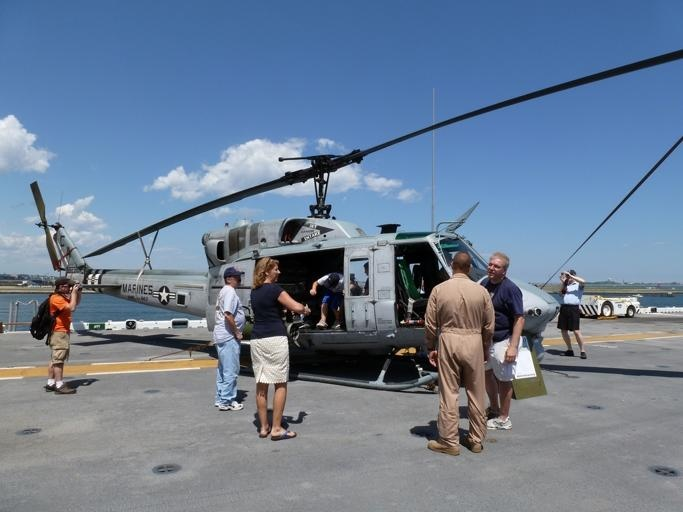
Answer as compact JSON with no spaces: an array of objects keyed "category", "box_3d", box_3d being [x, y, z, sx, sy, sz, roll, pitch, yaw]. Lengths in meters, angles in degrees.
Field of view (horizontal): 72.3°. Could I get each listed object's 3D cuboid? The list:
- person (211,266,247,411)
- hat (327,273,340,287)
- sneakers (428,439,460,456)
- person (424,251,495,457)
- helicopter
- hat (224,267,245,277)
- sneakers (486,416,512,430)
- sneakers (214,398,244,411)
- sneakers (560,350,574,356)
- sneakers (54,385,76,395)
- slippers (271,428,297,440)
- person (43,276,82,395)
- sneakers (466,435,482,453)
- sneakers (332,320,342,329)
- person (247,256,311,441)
[{"category":"person","box_3d":[-1.622,1.175,6.704,0.407,2.031,0.347,0,-1,-10]},{"category":"hat","box_3d":[-0.128,0.435,8.563,0.204,0.232,0.248,-5,13,-2]},{"category":"sneakers","box_3d":[1.119,2.095,5.196,0.337,0.121,0.130,7,0,35]},{"category":"person","box_3d":[1.343,1.207,5.302,0.749,1.915,0.453,-1,-1,10]},{"category":"helicopter","box_3d":[-0.294,0.947,8.519,11.842,3.769,3.189,-14,-7,34]},{"category":"hat","box_3d":[-1.545,0.231,6.799,0.315,0.112,0.198,-1,3,-24]},{"category":"sneakers","box_3d":[1.962,2.089,5.879,0.358,0.135,0.131,3,-7,2]},{"category":"sneakers","box_3d":[-1.631,2.134,6.732,0.353,0.127,0.150,1,-4,-13]},{"category":"sneakers","box_3d":[5.389,2.280,11.135,0.142,0.138,0.383,1,0,-10]},{"category":"sneakers","box_3d":[-4.405,2.138,7.502,0.370,0.140,0.135,2,-4,-6]},{"category":"slippers","box_3d":[-0.684,2.118,5.576,0.261,0.087,0.124,-2,-4,-15]},{"category":"person","box_3d":[-4.522,1.270,7.565,0.471,1.836,0.412,0,-1,-30]},{"category":"sneakers","box_3d":[1.501,2.089,5.263,0.193,0.151,0.262,-1,-1,14]},{"category":"sneakers","box_3d":[-0.087,1.268,8.674,0.172,0.166,0.431,-3,-8,6]},{"category":"person","box_3d":[-0.807,1.093,5.703,0.582,2.155,0.539,0,-1,-11]}]
